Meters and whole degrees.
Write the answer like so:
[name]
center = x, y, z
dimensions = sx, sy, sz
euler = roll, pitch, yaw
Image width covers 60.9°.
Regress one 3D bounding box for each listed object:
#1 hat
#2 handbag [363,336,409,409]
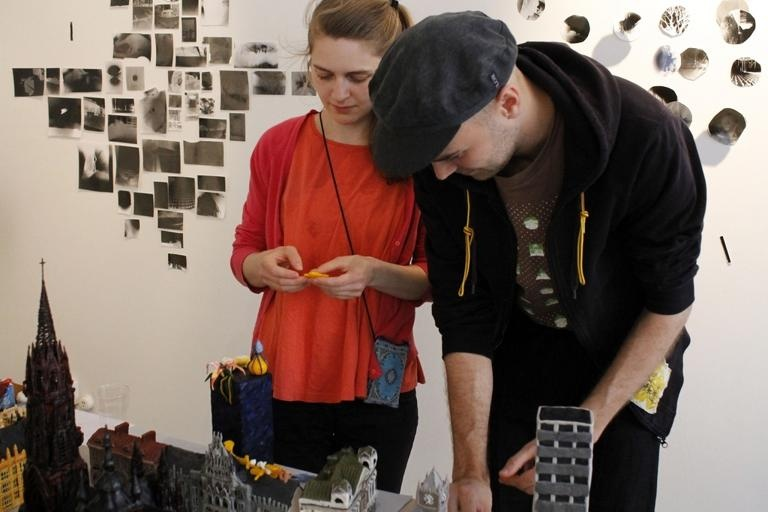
[hat]
center = 0.171, -0.484, 1.926
dimensions = 0.431, 0.507, 0.159
euler = 4, 3, -3
[handbag]
center = 0.015, 0.434, 2.438
dimensions = 0.179, 0.247, 0.068
euler = 8, -2, -25
